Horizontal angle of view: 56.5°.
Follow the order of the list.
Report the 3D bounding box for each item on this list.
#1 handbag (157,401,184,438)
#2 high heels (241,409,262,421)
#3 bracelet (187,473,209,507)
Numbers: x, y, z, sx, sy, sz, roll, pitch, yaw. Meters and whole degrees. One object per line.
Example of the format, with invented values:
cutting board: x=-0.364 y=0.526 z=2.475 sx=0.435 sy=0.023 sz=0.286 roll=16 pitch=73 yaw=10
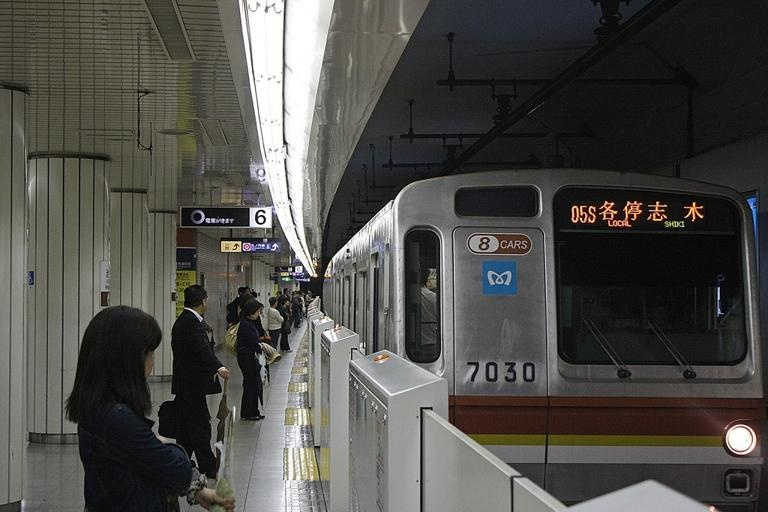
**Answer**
handbag: x=-2.469 y=1.898 z=8.194 sx=0.310 sy=0.423 sz=0.114 roll=3 pitch=1 yaw=2
high heels: x=-2.207 y=2.636 z=11.932 sx=0.269 sy=0.097 sz=0.159 roll=5 pitch=-4 yaw=-22
bracelet: x=-1.243 y=1.541 z=4.700 sx=0.100 sy=0.213 sz=0.161 roll=16 pitch=8 yaw=1
